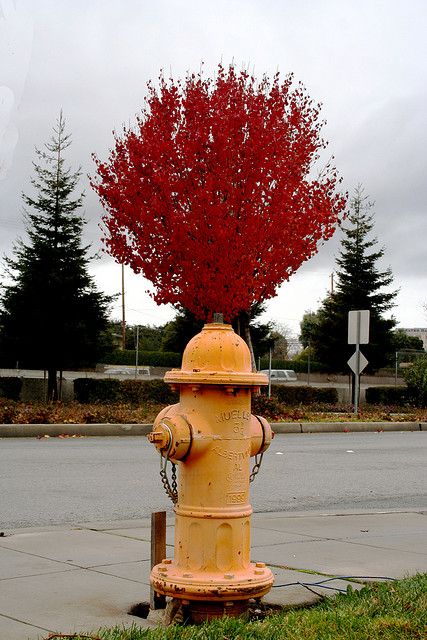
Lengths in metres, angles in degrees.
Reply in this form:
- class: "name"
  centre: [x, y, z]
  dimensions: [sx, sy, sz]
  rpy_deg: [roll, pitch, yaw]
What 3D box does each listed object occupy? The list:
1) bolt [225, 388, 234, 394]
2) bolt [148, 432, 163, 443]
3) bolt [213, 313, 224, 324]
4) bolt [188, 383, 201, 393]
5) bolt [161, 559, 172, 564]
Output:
- class: "bolt"
  centre: [0.077, 0.342, 3.840]
  dimensions: [0.028, 0.020, 0.027]
  rpy_deg: [4, -7, -33]
- class: "bolt"
  centre: [-0.280, 0.553, 3.739]
  dimensions: [0.048, 0.061, 0.088]
  rpy_deg: [-4, -7, 34]
- class: "bolt"
  centre: [0.018, -0.010, 4.170]
  dimensions: [0.052, 0.056, 0.051]
  rpy_deg: [1, -5, -17]
- class: "bolt"
  centre: [-0.092, 0.331, 3.843]
  dimensions: [0.045, 0.033, 0.046]
  rpy_deg: [-1, -4, 7]
- class: "bolt"
  centre: [-0.235, 1.202, 3.945]
  dimensions: [0.031, 0.011, 0.030]
  rpy_deg: [7, -10, -26]
